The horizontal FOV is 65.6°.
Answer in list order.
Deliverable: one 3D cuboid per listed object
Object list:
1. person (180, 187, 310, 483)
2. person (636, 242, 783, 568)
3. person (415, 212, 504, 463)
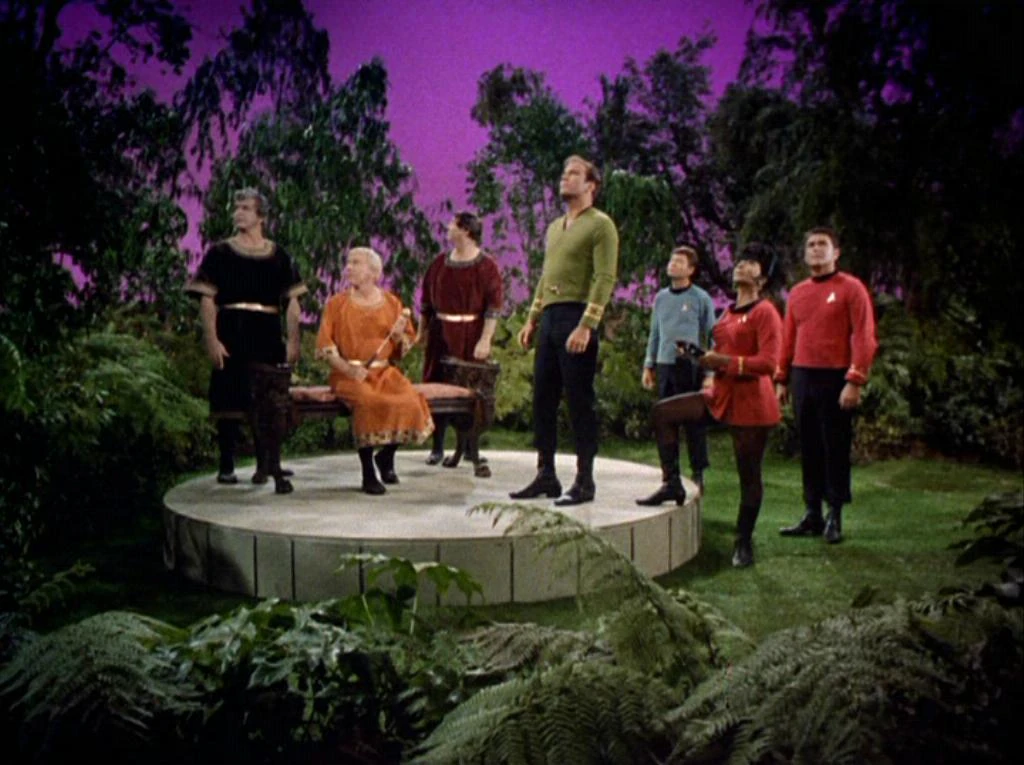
[{"bbox_3d":[-1.524,-0.283,4.954,0.732,1.797,0.676,-1,-1,27],"label":"person"},{"bbox_3d":[1.102,0.108,4.162,0.694,1.503,0.476,-1,0,4],"label":"person"},{"bbox_3d":[-0.417,-0.275,6.020,0.560,2.016,0.539,4,13,8],"label":"person"}]
